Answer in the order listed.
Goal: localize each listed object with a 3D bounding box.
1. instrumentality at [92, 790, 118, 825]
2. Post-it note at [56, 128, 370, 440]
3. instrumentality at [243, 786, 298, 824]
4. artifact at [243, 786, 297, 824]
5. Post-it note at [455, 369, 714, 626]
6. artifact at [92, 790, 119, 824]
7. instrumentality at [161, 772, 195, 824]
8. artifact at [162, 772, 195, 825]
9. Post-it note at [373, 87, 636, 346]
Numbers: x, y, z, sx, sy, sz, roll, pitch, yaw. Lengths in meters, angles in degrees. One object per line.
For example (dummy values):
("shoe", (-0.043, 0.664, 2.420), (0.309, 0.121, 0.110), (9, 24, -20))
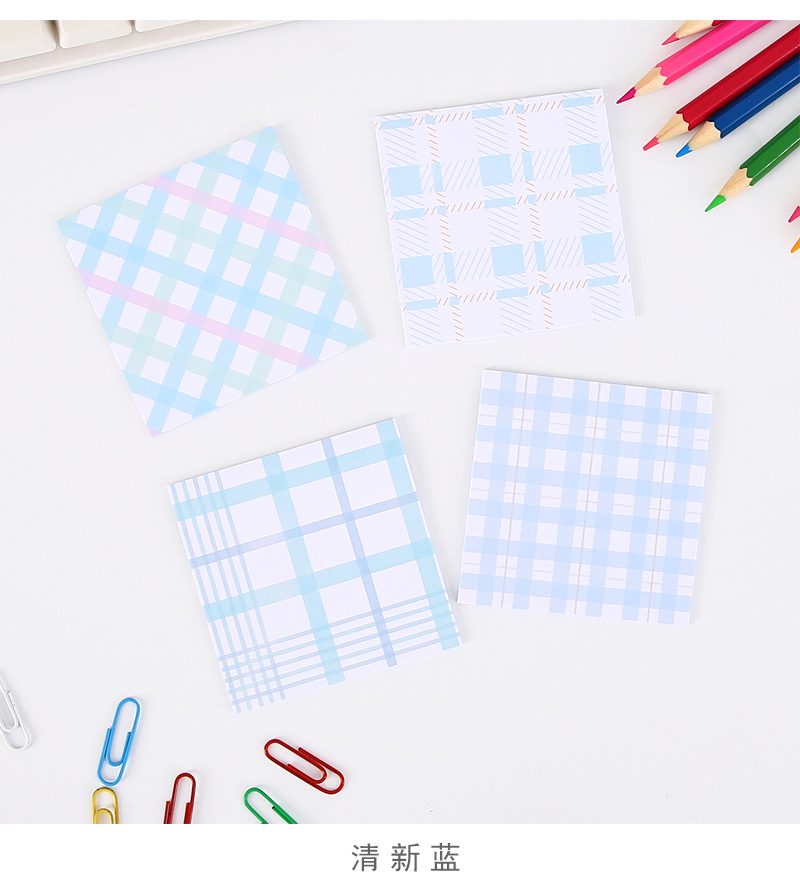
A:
("instrumentality", (-0.358, 0.443, 1.056), (0.034, 0.029, 0.043), (-1, -71, 0))
("Post-it note", (-0.231, -0.199, 1.075), (0.290, 0.126, 0.287), (-22, -72, 7))
("instrumentality", (-0.161, 0.449, 1.064), (0.070, 0.022, 0.031), (39, -75, -13))
("artifact", (-0.161, 0.449, 1.064), (0.070, 0.022, 0.031), (39, -75, -13))
("Post-it note", (0.233, 0.070, 1.081), (0.288, 0.113, 0.278), (6, -71, -3))
("artifact", (-0.358, 0.443, 1.056), (0.034, 0.029, 0.043), (-1, -71, 0))
("instrumentality", (-0.264, 0.436, 1.059), (0.038, 0.038, 0.058), (16, -72, -6))
("artifact", (-0.264, 0.436, 1.059), (0.038, 0.038, 0.058), (16, -72, -6))
("Post-it note", (0.131, -0.278, 1.077), (0.284, 0.112, 0.272), (-7, -70, 2))
